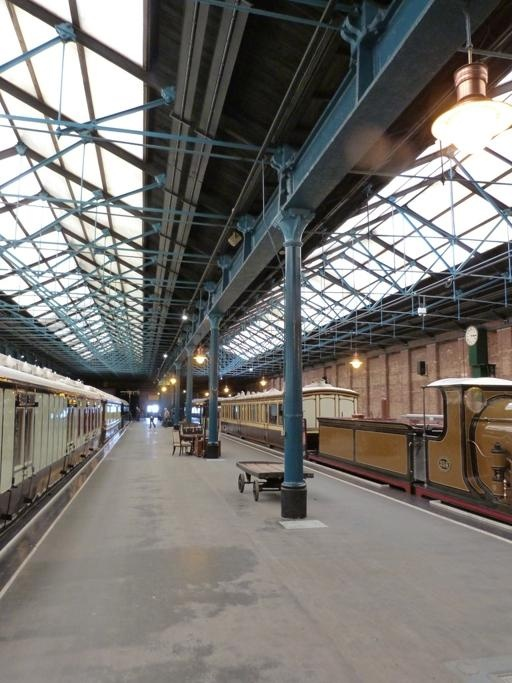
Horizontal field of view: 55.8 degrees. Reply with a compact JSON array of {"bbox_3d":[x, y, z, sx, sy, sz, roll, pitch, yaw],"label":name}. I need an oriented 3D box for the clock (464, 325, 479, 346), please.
[{"bbox_3d":[6.277,-0.124,14.099,0.241,0.588,0.793,-1,-8,8],"label":"clock"}]

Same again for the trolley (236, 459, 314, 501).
[{"bbox_3d":[0.059,2.887,9.938,0.920,0.612,2.164,0,-9,-1],"label":"trolley"}]

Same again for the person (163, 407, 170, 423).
[{"bbox_3d":[-8.688,7.472,46.687,0.522,1.420,1.596,1,-8,-9],"label":"person"}]
